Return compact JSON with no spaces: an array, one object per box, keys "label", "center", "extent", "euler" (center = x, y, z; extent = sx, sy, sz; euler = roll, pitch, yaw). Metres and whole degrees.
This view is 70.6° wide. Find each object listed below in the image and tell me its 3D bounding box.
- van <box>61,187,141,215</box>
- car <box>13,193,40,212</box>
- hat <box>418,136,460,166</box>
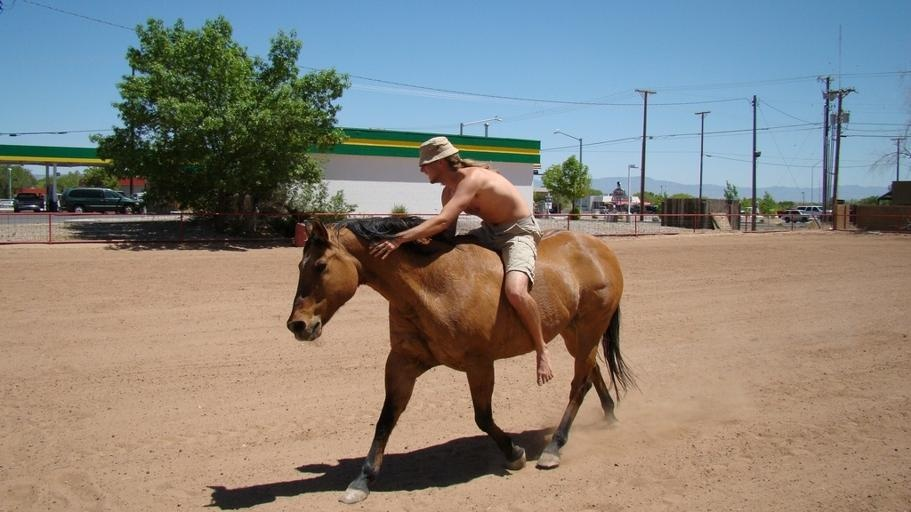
[{"label":"van","center":[-24.528,-3.860,44.508],"extent":[4.080,1.598,1.944],"euler":[-1,5,-31]},{"label":"car","center":[-30.620,-3.825,46.560],"extent":[1.503,0.974,3.086],"euler":[-3,19,-27]},{"label":"hat","center":[-0.251,-1.718,10.217],"extent":[0.527,0.264,0.547],"euler":[-16,5,28]}]
